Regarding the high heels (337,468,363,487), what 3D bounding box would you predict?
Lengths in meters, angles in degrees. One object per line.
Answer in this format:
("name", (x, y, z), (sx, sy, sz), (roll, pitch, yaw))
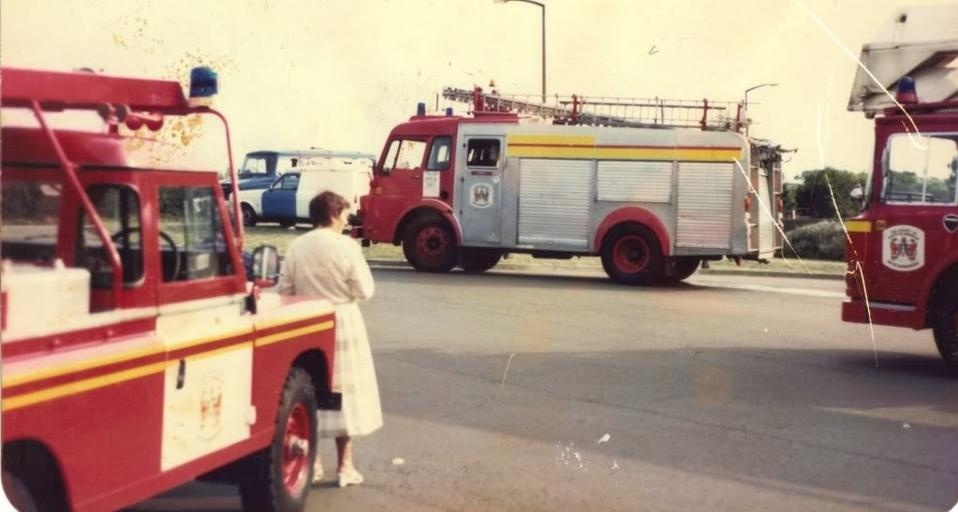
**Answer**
("high heels", (-1.177, 2.063, 7.205), (0.109, 0.137, 0.291), (6, 9, 37))
